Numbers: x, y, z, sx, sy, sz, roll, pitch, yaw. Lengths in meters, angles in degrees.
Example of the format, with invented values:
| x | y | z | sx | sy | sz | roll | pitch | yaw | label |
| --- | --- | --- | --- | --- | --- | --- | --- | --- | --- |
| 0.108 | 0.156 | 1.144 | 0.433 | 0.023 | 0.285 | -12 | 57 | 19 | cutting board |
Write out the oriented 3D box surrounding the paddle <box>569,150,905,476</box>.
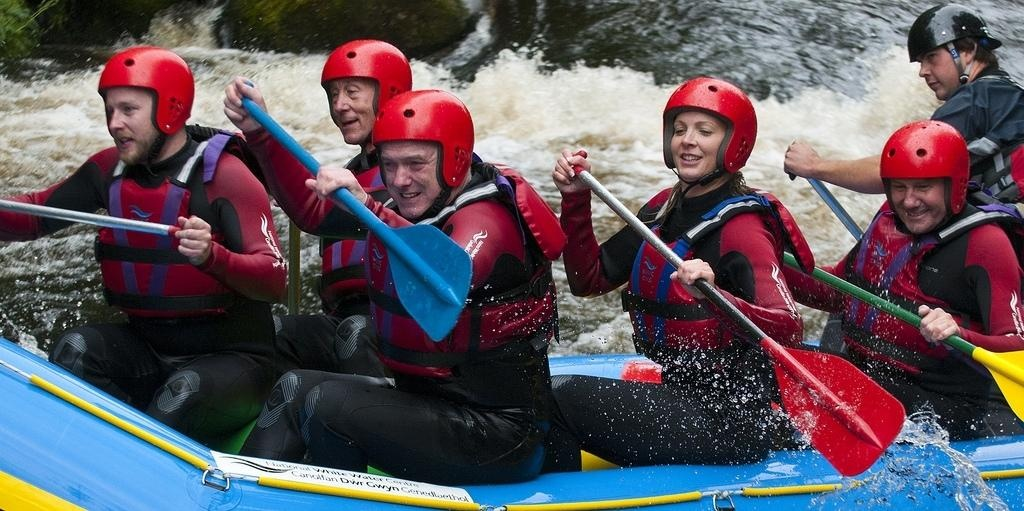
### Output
| x | y | z | sx | sy | sz | roll | pitch | yaw | label |
| --- | --- | --- | --- | --- | --- | --- | --- | --- | --- |
| 1.608 | 0.484 | 7.449 | 3.569 | 0.238 | 0.709 | 39 | 67 | 5 | paddle |

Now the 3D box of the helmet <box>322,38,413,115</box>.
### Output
| x | y | z | sx | sy | sz | roll | pitch | yaw | label |
| --- | --- | --- | --- | --- | --- | --- | --- | --- | --- |
| -1.105 | -1.370 | 7.868 | 0.680 | 0.474 | 0.486 | -8 | 2 | -43 | helmet |

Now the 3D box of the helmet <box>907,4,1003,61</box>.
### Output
| x | y | z | sx | sy | sz | roll | pitch | yaw | label |
| --- | --- | --- | --- | --- | --- | --- | --- | --- | --- |
| 3.618 | -1.822 | 8.501 | 0.621 | 0.310 | 0.460 | -9 | 0 | 0 | helmet |
